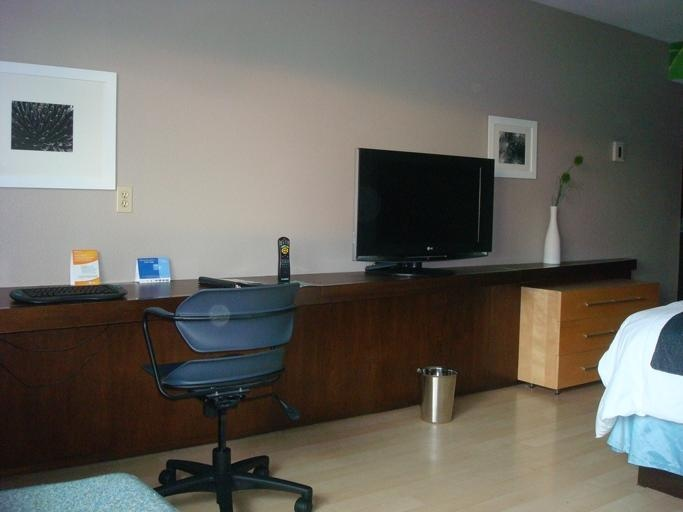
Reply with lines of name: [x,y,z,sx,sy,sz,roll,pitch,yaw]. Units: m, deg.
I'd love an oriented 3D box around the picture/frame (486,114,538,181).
picture/frame: [1.410,-0.882,4.376,0.517,0.455,0.029,-2,4,-28]

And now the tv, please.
tv: [0.543,-0.288,3.840,1.117,0.849,0.432,-1,3,-22]

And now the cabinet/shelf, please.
cabinet/shelf: [1.971,0.573,4.301,1.174,0.706,0.422,-4,6,-34]

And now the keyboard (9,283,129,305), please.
keyboard: [-1.334,0.183,2.596,0.348,0.036,0.212,-2,5,-31]

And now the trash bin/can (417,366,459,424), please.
trash bin/can: [0.609,0.919,3.539,0.291,0.334,0.331,15,-20,-43]
